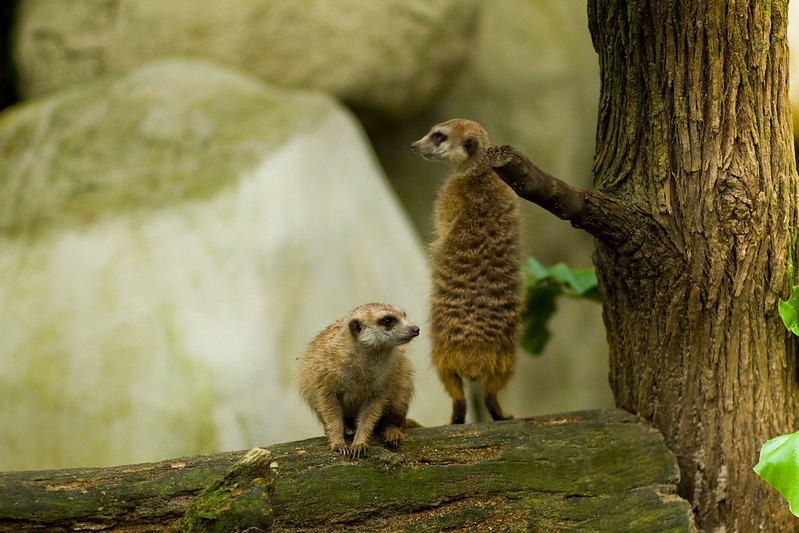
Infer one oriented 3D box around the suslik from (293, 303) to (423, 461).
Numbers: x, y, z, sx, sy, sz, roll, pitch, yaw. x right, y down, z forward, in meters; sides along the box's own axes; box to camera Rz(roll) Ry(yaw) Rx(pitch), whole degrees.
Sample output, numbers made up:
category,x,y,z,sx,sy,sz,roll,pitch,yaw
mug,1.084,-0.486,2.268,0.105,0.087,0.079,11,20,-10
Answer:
category,x,y,z,sx,sy,sz,roll,pitch,yaw
suslik,-0.255,0.623,9.079,0.627,0.806,1.107,1,-1,-19
